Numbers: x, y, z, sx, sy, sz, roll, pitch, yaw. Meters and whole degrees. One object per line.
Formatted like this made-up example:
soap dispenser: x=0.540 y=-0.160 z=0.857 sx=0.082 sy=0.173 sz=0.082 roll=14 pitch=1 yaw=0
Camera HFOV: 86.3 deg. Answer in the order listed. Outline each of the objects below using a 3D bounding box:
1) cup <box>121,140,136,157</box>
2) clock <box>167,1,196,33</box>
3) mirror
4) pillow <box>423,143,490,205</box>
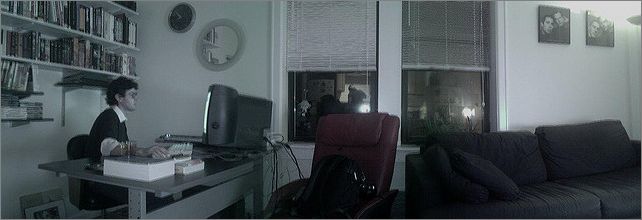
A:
cup: x=-3.999 y=0.808 z=7.124 sx=0.290 sy=0.311 sz=0.241 roll=-2 pitch=1 yaw=-26
clock: x=-3.563 y=-2.354 z=8.765 sx=1.098 sy=0.642 sz=0.204 roll=2 pitch=9 yaw=1
mirror: x=-2.562 y=-1.666 z=8.714 sx=1.297 sy=1.343 sz=0.111 roll=-1 pitch=2 yaw=7
pillow: x=2.979 y=1.409 z=7.522 sx=1.310 sy=1.260 sz=0.192 roll=-1 pitch=2 yaw=11
